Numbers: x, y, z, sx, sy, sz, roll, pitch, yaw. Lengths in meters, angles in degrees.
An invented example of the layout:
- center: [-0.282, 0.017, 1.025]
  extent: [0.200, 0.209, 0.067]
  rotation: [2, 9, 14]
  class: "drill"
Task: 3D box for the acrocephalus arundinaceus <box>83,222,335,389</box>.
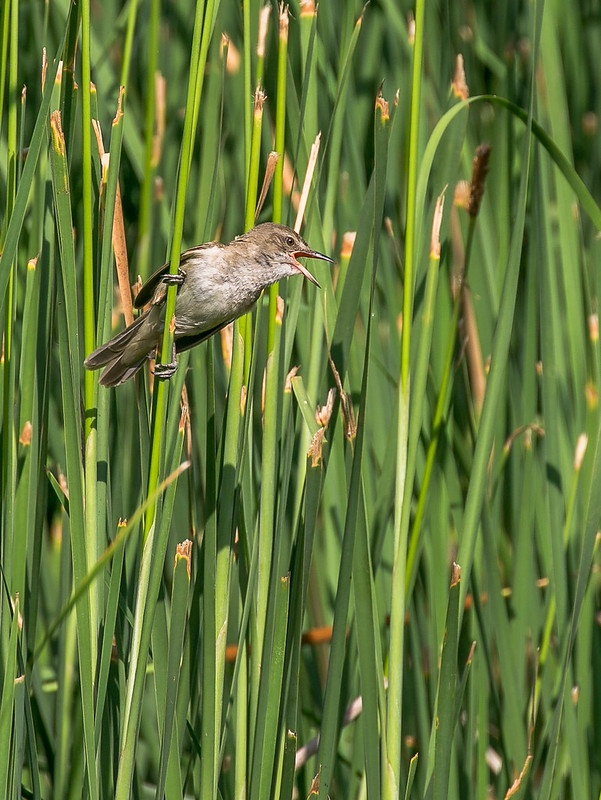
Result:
- center: [-0.223, -0.241, 2.922]
  extent: [0.560, 0.510, 0.542]
  rotation: [4, -6, -14]
  class: "acrocephalus arundinaceus"
